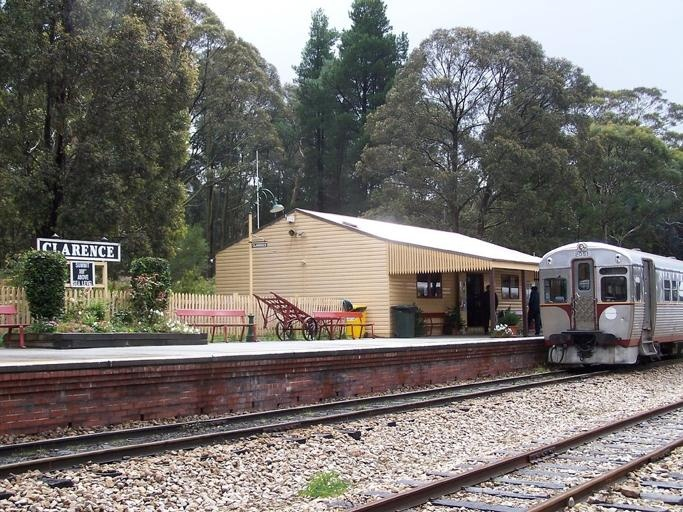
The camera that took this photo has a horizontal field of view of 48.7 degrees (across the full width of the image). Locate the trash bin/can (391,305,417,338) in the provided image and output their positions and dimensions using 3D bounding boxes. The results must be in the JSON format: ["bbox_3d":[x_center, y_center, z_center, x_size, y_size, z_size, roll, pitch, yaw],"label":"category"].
[{"bbox_3d":[2.295,2.531,28.474,1.002,1.147,0.977,-8,-11,42],"label":"trash bin/can"}]

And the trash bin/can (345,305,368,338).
[{"bbox_3d":[0.552,2.487,27.928,0.728,1.163,1.003,-4,-9,30],"label":"trash bin/can"}]

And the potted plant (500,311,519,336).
[{"bbox_3d":[6.110,2.405,27.398,0.824,1.137,0.765,1,-7,0],"label":"potted plant"}]
